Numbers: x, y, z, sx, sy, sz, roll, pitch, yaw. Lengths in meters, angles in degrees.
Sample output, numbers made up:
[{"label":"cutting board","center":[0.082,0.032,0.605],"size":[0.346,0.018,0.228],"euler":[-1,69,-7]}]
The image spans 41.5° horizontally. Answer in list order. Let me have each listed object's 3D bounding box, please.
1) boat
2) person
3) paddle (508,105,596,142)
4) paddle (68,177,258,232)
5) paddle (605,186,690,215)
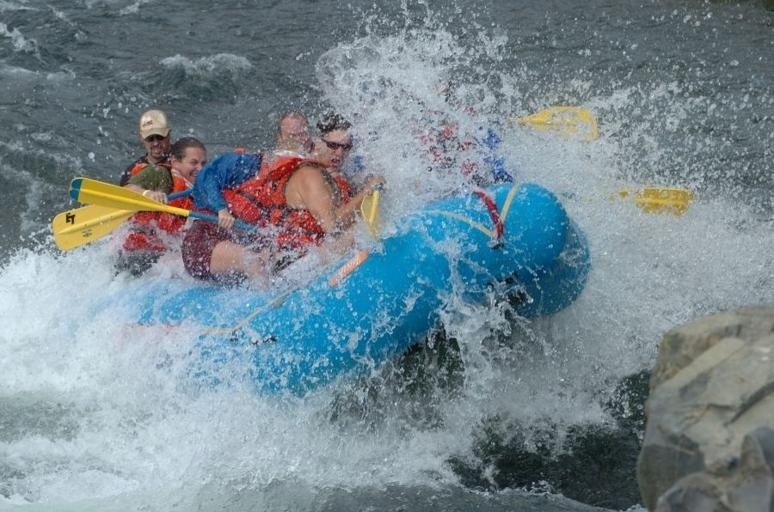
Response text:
[{"label":"boat","center":[-0.040,0.377,10.129],"size":[3.595,2.476,1.062],"euler":[-20,68,1]},{"label":"person","center":[-1.098,-0.527,9.964],"size":[1.886,0.721,1.388],"euler":[-35,75,3]},{"label":"paddle","center":[1.790,-1.422,10.657],"size":[0.817,0.106,0.448],"euler":[12,54,5]},{"label":"paddle","center":[-2.225,-0.507,10.213],"size":[2.094,0.173,0.292],"euler":[11,95,8]},{"label":"paddle","center":[2.763,-0.580,10.744],"size":[0.956,0.236,0.316],"euler":[3,88,-18]}]
